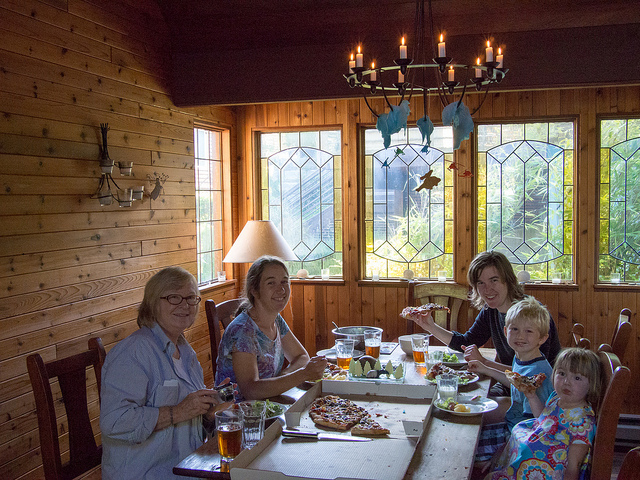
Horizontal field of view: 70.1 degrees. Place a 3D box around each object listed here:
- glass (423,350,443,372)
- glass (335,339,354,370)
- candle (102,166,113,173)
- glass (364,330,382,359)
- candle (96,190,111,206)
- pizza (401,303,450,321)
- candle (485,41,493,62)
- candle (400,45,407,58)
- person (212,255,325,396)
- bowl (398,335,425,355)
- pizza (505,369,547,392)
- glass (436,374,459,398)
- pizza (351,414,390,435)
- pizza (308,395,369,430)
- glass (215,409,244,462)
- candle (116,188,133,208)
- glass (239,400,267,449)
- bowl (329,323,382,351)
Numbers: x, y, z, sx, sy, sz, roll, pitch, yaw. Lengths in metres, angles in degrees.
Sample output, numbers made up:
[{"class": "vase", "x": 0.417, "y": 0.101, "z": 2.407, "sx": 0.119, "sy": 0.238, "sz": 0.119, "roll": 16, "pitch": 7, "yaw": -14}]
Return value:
[{"class": "glass", "x": 0.627, "y": 0.685, "z": 2.611, "sx": 0.105, "sy": 0.116, "sz": 0.104, "roll": 0, "pitch": -3, "yaw": -12}, {"class": "glass", "x": 0.145, "y": 0.667, "z": 2.612, "sx": 0.122, "sy": 0.170, "sz": 0.110, "roll": -3, "pitch": -15, "yaw": 12}, {"class": "candle", "x": -1.532, "y": -0.511, "z": 3.334, "sx": 0.049, "sy": 0.039, "sz": 0.105, "roll": -2, "pitch": 3, "yaw": 7}, {"class": "glass", "x": 0.308, "y": 0.654, "z": 2.783, "sx": 0.132, "sy": 0.169, "sz": 0.118, "roll": 11, "pitch": -24, "yaw": -31}, {"class": "candle", "x": -1.548, "y": -0.302, "z": 3.305, "sx": 0.097, "sy": 0.116, "sz": 0.098, "roll": -5, "pitch": 2, "yaw": -7}, {"class": "pizza", "x": 0.672, "y": 0.452, "z": 2.926, "sx": 0.268, "sy": 0.076, "sz": 0.177, "roll": -11, "pitch": -1, "yaw": 29}, {"class": "candle", "x": 0.788, "y": -0.878, "z": 2.134, "sx": 0.025, "sy": 0.117, "sz": 0.101, "roll": -1, "pitch": 4, "yaw": 21}, {"class": "candle", "x": 0.380, "y": -0.870, "z": 2.102, "sx": 0.020, "sy": 0.065, "sz": 0.026, "roll": -1, "pitch": 4, "yaw": 25}, {"class": "person", "x": -0.278, "y": 0.517, "z": 2.529, "sx": 0.564, "sy": 0.781, "sz": 0.660, "roll": -3, "pitch": 3, "yaw": -31}, {"class": "bowl", "x": 0.567, "y": 0.642, "z": 2.895, "sx": 0.141, "sy": 0.093, "sz": 0.143, "roll": 0, "pitch": 1, "yaw": 0}, {"class": "pizza", "x": 0.897, "y": 0.619, "z": 2.007, "sx": 0.136, "sy": 0.110, "sz": 0.046, "roll": -1, "pitch": 4, "yaw": -14}, {"class": "glass", "x": 0.585, "y": 0.671, "z": 2.110, "sx": 0.103, "sy": 0.111, "sz": 0.101, "roll": -2, "pitch": 1, "yaw": -20}, {"class": "pizza", "x": 0.207, "y": 0.767, "z": 1.912, "sx": 0.153, "sy": 0.026, "sz": 0.164, "roll": -2, "pitch": 3, "yaw": 4}, {"class": "pizza", "x": 0.068, "y": 0.757, "z": 2.020, "sx": 0.260, "sy": 0.036, "sz": 0.276, "roll": 0, "pitch": 4, "yaw": 40}, {"class": "glass", "x": -0.330, "y": 0.729, "z": 1.698, "sx": 0.109, "sy": 0.165, "sz": 0.112, "roll": -3, "pitch": -17, "yaw": -8}, {"class": "candle", "x": -1.492, "y": -0.326, "z": 3.504, "sx": 0.110, "sy": 0.151, "sz": 0.133, "roll": -4, "pitch": 4, "yaw": -26}, {"class": "glass", "x": -0.243, "y": 0.729, "z": 1.782, "sx": 0.124, "sy": 0.179, "sz": 0.124, "roll": 10, "pitch": -22, "yaw": -27}, {"class": "bowl", "x": 0.236, "y": 0.608, "z": 2.918, "sx": 0.373, "sy": 0.139, "sz": 0.381, "roll": -1, "pitch": -3, "yaw": 0}]
